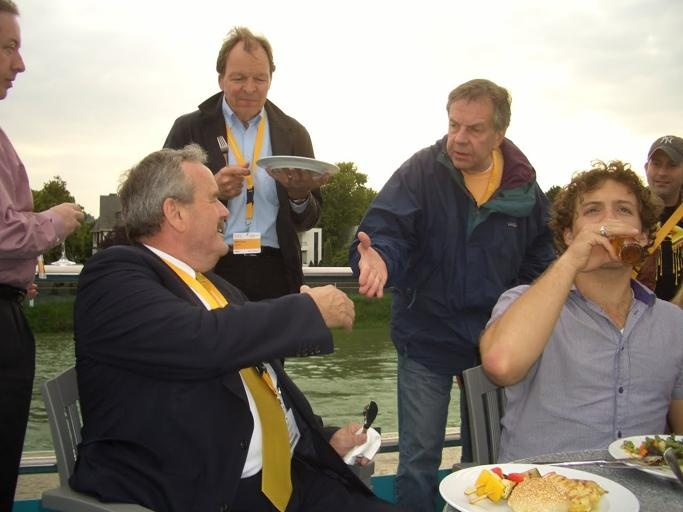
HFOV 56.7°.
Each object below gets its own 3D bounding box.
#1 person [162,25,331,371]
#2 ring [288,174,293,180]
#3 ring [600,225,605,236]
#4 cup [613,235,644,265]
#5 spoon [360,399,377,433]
[{"bbox_3d":[-0.568,-0.238,3.636,0.737,1.921,0.684,-2,6,-13],"label":"person"},{"bbox_3d":[-0.269,-0.415,3.358,0.020,0.015,0.020,-1,2,0],"label":"ring"},{"bbox_3d":[1.006,-0.094,2.432,0.016,0.031,0.022,-4,44,6],"label":"ring"},{"bbox_3d":[1.058,-0.023,2.345,0.053,0.059,0.088,-20,11,11],"label":"cup"},{"bbox_3d":[0.112,0.666,2.618,0.050,0.153,0.020,9,28,-6],"label":"spoon"}]
